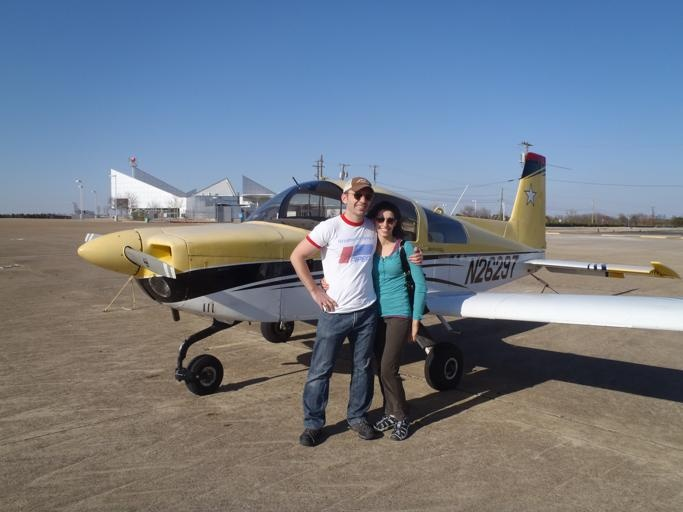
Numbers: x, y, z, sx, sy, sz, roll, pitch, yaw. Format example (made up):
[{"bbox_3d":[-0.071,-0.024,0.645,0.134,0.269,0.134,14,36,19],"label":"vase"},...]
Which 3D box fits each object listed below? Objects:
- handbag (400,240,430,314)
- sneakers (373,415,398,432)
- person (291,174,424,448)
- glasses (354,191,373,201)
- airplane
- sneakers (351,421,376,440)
[{"bbox_3d":[0.590,0.205,4.079,0.197,0.507,0.357,-4,4,12],"label":"handbag"},{"bbox_3d":[0.369,1.406,4.168,0.265,0.104,0.097,0,3,-4],"label":"sneakers"},{"bbox_3d":[-0.032,0.439,4.016,0.740,2.110,0.582,0,12,-8],"label":"person"},{"bbox_3d":[0.176,-0.474,3.918,0.118,0.029,0.100,2,-2,-7],"label":"glasses"},{"bbox_3d":[0.816,0.199,5.235,4.961,1.289,5.087,1,0,-35],"label":"airplane"},{"bbox_3d":[0.191,1.433,4.086,0.127,0.067,0.215,8,-7,-30],"label":"sneakers"}]
